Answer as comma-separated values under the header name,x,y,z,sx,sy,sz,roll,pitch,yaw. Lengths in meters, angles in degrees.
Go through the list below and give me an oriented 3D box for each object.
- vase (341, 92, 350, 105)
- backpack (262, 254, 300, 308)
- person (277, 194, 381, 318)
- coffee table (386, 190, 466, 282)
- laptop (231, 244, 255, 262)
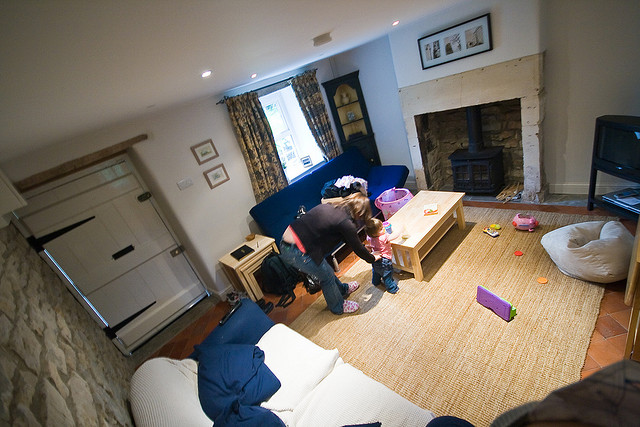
name,x,y,z,sx,sy,sz,roll,pitch,yaw
vase,0.434,-1.991,6.602,0.124,0.194,0.133,-14,22,14
backpack,-0.536,0.856,5.076,0.259,0.661,0.526,-51,23,8
person,0.122,0.508,4.493,1.186,1.431,0.623,-10,24,-13
coffee table,1.369,0.262,5.060,0.665,0.645,1.276,2,29,44
laptop,-1.053,0.527,5.224,0.215,0.045,0.213,-37,26,-24
